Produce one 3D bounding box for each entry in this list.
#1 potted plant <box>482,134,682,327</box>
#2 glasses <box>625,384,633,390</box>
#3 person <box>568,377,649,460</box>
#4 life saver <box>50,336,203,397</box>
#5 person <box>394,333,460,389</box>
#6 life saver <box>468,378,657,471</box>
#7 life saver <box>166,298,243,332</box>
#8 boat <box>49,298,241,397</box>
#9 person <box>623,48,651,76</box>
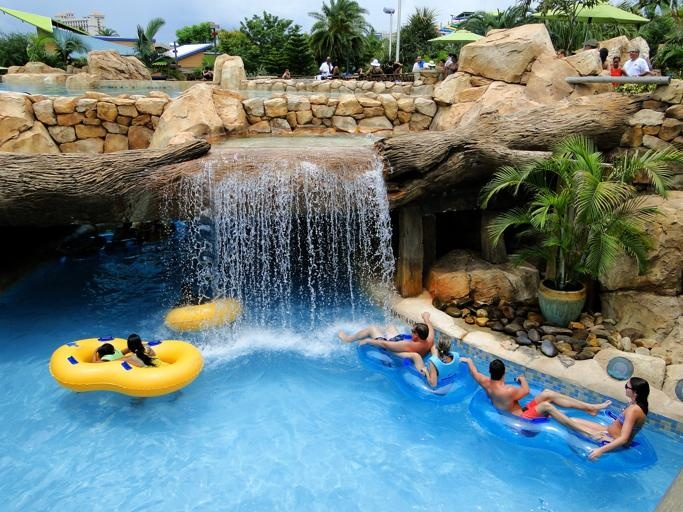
[{"bbox_3d":[3.871,-0.459,7.457,2.412,2.979,2.083,12,25,34],"label":"potted plant"},{"bbox_3d":[3.377,1.540,5.252,0.069,0.018,0.058,-6,13,-6],"label":"glasses"},{"bbox_3d":[3.322,2.034,5.514,0.910,0.630,1.056,-5,15,42],"label":"person"},{"bbox_3d":[-3.027,1.555,6.196,1.740,0.385,0.986,4,12,1],"label":"life saver"},{"bbox_3d":[1.316,1.473,6.680,0.547,0.501,0.995,-14,26,-26],"label":"person"},{"bbox_3d":[2.772,2.061,5.522,1.543,0.232,0.854,7,8,22],"label":"life saver"},{"bbox_3d":[-2.506,1.050,7.913,0.892,0.232,0.823,-6,3,27],"label":"life saver"},{"bbox_3d":[-2.744,1.435,6.530,1.581,0.262,1.743,15,22,31],"label":"boat"},{"bbox_3d":[6.641,-4.332,9.966,0.538,0.671,1.050,9,21,27],"label":"person"}]
